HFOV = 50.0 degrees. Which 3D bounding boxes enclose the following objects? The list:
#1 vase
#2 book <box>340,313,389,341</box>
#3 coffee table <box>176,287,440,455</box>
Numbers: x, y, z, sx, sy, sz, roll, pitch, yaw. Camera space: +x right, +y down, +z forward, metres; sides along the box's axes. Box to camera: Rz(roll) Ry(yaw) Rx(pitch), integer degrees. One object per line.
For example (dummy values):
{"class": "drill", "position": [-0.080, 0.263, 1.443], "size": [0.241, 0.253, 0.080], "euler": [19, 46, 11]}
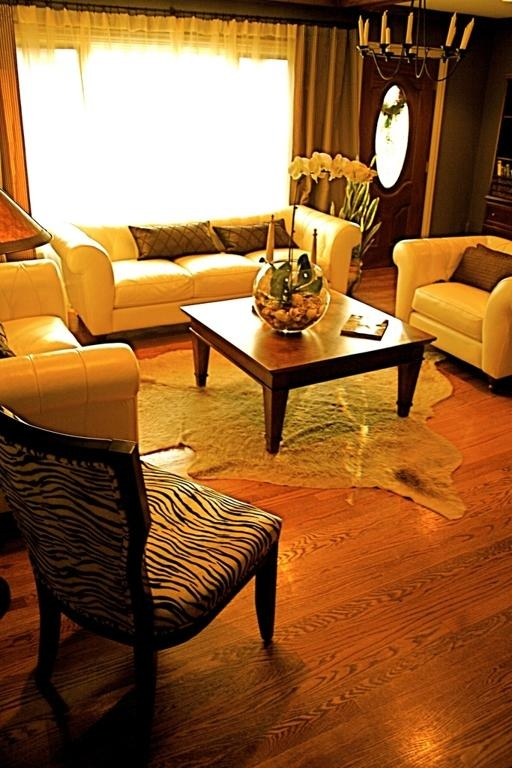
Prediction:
{"class": "vase", "position": [0.190, -0.469, 2.857], "size": [0.408, 0.413, 0.430], "euler": [1, 24, 7]}
{"class": "book", "position": [0.582, -0.309, 2.943], "size": [0.180, 0.038, 0.194], "euler": [9, 34, 15]}
{"class": "coffee table", "position": [0.092, -0.290, 2.960], "size": [0.947, 0.459, 0.990], "euler": [-12, 32, -26]}
